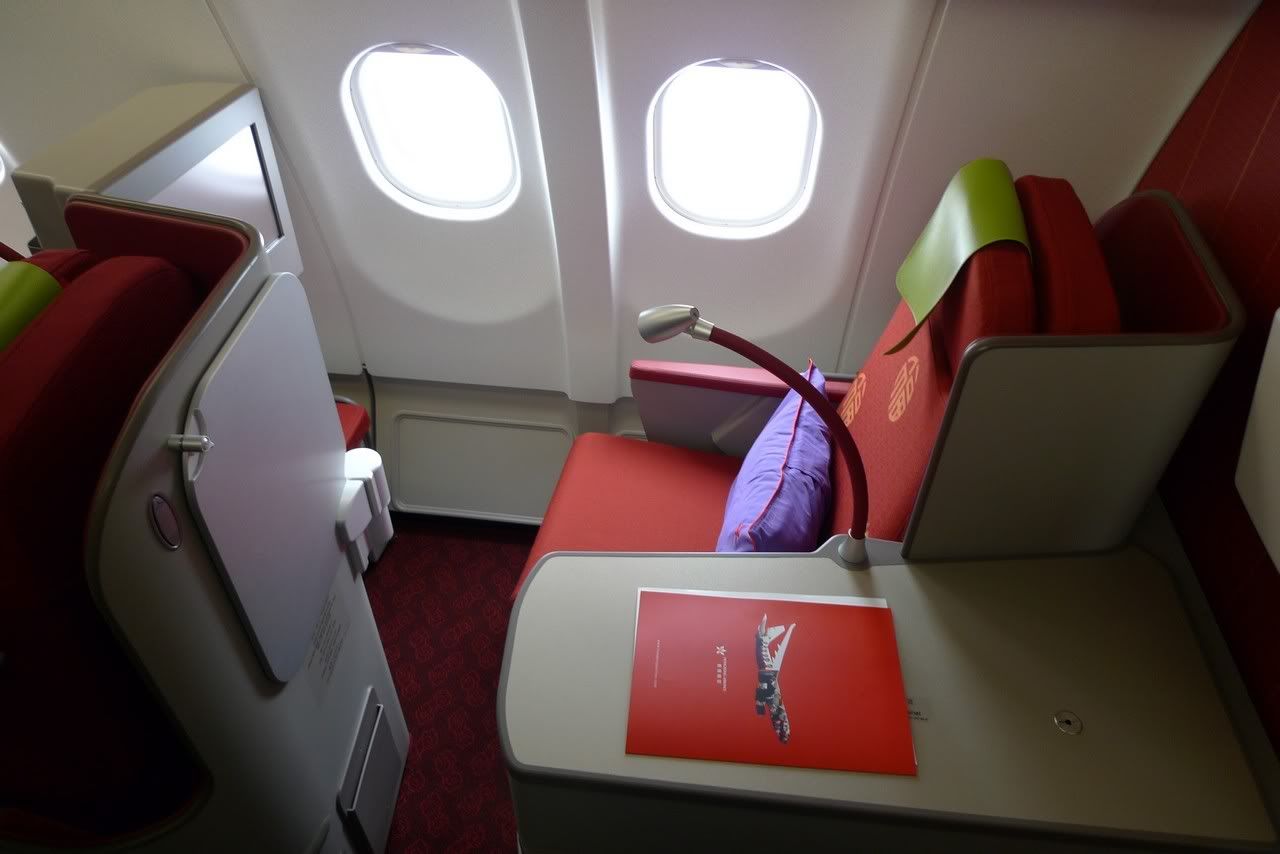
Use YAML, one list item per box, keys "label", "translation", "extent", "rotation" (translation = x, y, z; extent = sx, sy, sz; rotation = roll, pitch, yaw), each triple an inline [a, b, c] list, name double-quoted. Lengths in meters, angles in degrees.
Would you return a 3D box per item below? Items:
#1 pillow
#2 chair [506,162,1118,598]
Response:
- label: "pillow"
  translation: [0.342, 0.082, 2.096]
  extent: [0.278, 0.301, 0.803]
  rotation: [8, 26, 7]
- label: "chair"
  translation: [0.418, -0.022, 2.105]
  extent: [1.061, 1.094, 0.711]
  rotation: [5, 29, 18]
